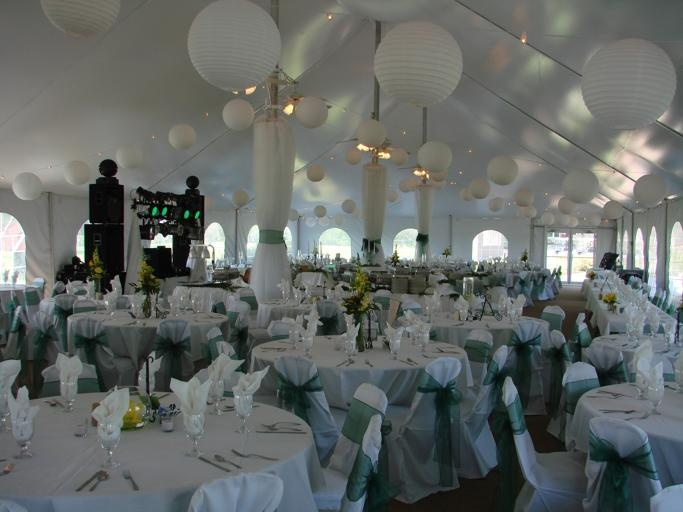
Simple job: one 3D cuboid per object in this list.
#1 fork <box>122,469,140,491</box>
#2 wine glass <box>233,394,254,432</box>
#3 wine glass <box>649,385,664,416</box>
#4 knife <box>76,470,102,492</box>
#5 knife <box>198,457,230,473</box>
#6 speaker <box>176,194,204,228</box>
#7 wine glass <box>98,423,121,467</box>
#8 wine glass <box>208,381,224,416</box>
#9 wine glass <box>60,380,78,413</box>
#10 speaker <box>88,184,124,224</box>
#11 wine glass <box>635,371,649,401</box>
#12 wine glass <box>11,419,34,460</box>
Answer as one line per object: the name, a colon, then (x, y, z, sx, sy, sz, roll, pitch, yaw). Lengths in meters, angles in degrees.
fork: (-1.294, 1.384, 3.427, 0.055, 0.036, 0.222, -14, 21, -26)
wine glass: (-0.714, 1.109, 4.023, 0.107, 0.295, 0.343, 1, -3, -11)
wine glass: (2.469, 1.125, 4.435, 0.101, 0.235, 0.308, -1, -3, 30)
knife: (-1.544, 1.385, 3.415, 0.056, 0.070, 0.171, 0, -4, 18)
knife: (-0.818, 1.335, 3.578, 0.275, 0.060, 0.056, -2, -4, 34)
speaker: (-3.668, -1.139, 13.569, 0.227, 0.893, 0.950, 0, -3, 17)
wine glass: (-1.518, 1.208, 3.641, 0.124, 0.292, 0.263, 1, -3, -24)
wine glass: (-0.975, 1.082, 4.341, 0.105, 0.251, 0.269, 1, -3, -14)
wine glass: (-2.093, 1.060, 4.295, 0.103, 0.236, 0.290, 2, -3, -27)
speaker: (-4.859, -1.084, 11.570, 0.635, 0.816, 0.356, 2, -3, -27)
wine glass: (2.462, 1.064, 4.627, 0.081, 0.252, 0.347, -1, -3, 28)
wine glass: (-2.091, 1.184, 3.674, 0.109, 0.260, 0.238, 2, -3, -31)
